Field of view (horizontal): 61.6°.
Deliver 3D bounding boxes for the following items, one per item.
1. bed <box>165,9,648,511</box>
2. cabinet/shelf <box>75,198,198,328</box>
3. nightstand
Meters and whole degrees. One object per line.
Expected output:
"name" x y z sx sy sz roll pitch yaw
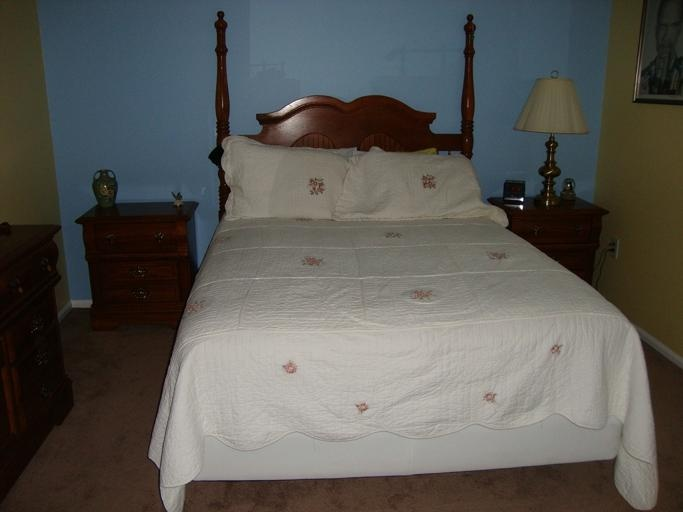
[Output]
"bed" 0.216 0.186 2.871 1.981 1.365 1.627 0 15 -2
"cabinet/shelf" -1.316 0.243 3.685 0.617 0.526 0.777 -3 58 -27
"nightstand" 1.356 -0.178 3.851 0.605 0.664 0.449 -1 18 -5
